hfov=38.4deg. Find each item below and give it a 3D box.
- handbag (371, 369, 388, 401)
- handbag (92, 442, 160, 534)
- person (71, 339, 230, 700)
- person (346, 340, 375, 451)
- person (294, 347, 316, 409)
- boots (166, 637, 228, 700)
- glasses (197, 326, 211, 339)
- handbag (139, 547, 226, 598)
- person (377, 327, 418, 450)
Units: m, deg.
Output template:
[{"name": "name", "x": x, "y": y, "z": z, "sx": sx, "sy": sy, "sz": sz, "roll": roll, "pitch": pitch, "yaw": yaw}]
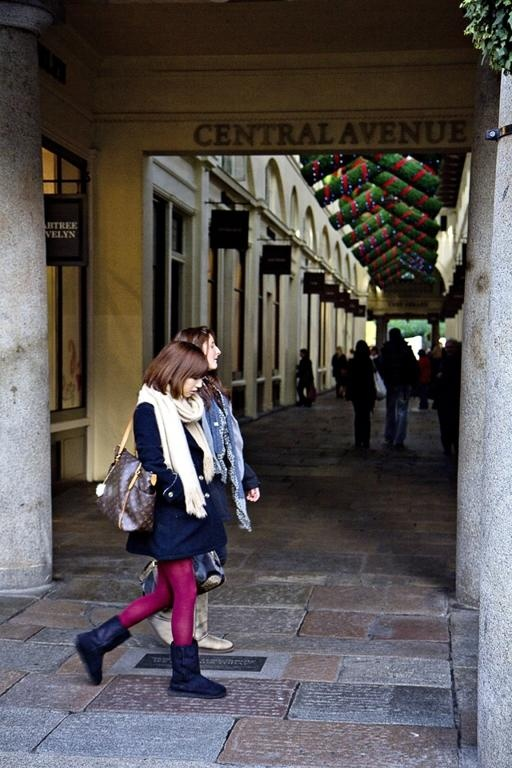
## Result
[{"name": "handbag", "x": 2.035, "y": 0.015, "z": 12.207, "sx": 0.180, "sy": 0.512, "sz": 0.484, "roll": -16, "pitch": -2, "yaw": 11}, {"name": "handbag", "x": -0.481, "y": 0.380, "z": 2.826, "sx": 0.142, "sy": 0.311, "sz": 0.334, "roll": 3, "pitch": 12, "yaw": -34}, {"name": "person", "x": -0.380, "y": 0.547, "z": 2.926, "sx": 0.550, "sy": 1.434, "sz": 0.452, "roll": 2, "pitch": 1, "yaw": -16}, {"name": "person", "x": 1.777, "y": 0.183, "z": 12.507, "sx": 0.470, "sy": 1.405, "sz": 0.725, "roll": 3, "pitch": 1, "yaw": 6}, {"name": "person", "x": 1.621, "y": -0.198, "z": 24.271, "sx": 0.629, "sy": 1.332, "sz": 1.417, "roll": 2, "pitch": 1, "yaw": 2}, {"name": "boots", "x": -0.248, "y": 1.132, "z": 2.949, "sx": 0.287, "sy": 0.273, "sz": 0.138, "roll": 0, "pitch": 1, "yaw": -1}, {"name": "glasses", "x": -0.225, "y": -0.222, "z": 3.177, "sx": 0.057, "sy": 0.056, "sz": 0.044, "roll": -8, "pitch": -5, "yaw": 36}, {"name": "handbag", "x": -0.301, "y": 0.842, "z": 3.245, "sx": 0.355, "sy": 0.226, "sz": 0.426, "roll": -12, "pitch": -16, "yaw": -9}, {"name": "person", "x": 2.363, "y": 0.091, "z": 12.427, "sx": 0.617, "sy": 1.585, "sz": 1.022, "roll": 3, "pitch": 1, "yaw": 12}]
